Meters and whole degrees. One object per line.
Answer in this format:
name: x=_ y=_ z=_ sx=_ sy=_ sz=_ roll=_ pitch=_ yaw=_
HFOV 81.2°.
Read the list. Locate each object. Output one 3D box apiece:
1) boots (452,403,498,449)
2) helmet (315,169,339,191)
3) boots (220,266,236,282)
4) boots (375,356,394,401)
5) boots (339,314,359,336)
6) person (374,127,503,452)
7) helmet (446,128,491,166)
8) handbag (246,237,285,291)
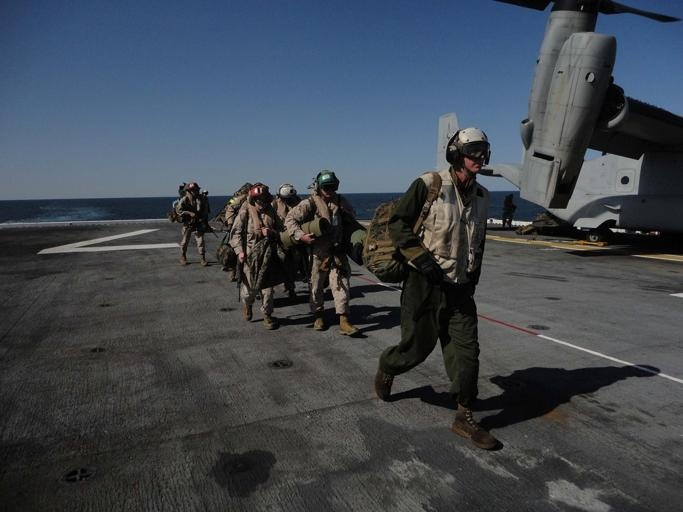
boots: x=1.128 y=1.421 z=3.441 sx=0.195 sy=0.230 sz=0.431 roll=-13 pitch=16 yaw=-35
helmet: x=-0.206 y=-1.092 z=5.758 sx=0.283 sy=0.281 sz=0.551 roll=-1 pitch=9 yaw=-6
boots: x=-2.802 y=0.422 z=9.957 sx=0.198 sy=0.357 sz=0.523 roll=-13 pitch=11 yaw=-21
boots: x=0.400 y=1.208 z=3.989 sx=0.209 sy=0.423 sz=0.160 roll=3 pitch=8 yaw=23
boots: x=0.081 y=1.041 z=5.912 sx=0.376 sy=0.323 sz=0.194 roll=-2 pitch=-3 yaw=41
person: x=0.879 y=0.196 z=3.545 sx=1.051 sy=2.635 sz=0.858 roll=3 pitch=11 yaw=19
helmet: x=1.172 y=-1.028 z=3.670 sx=0.418 sy=0.312 sz=0.390 roll=1 pitch=23 yaw=8
handbag: x=-1.172 y=0.132 z=6.206 sx=0.652 sy=0.762 sz=0.350 roll=-10 pitch=-5 yaw=-28
